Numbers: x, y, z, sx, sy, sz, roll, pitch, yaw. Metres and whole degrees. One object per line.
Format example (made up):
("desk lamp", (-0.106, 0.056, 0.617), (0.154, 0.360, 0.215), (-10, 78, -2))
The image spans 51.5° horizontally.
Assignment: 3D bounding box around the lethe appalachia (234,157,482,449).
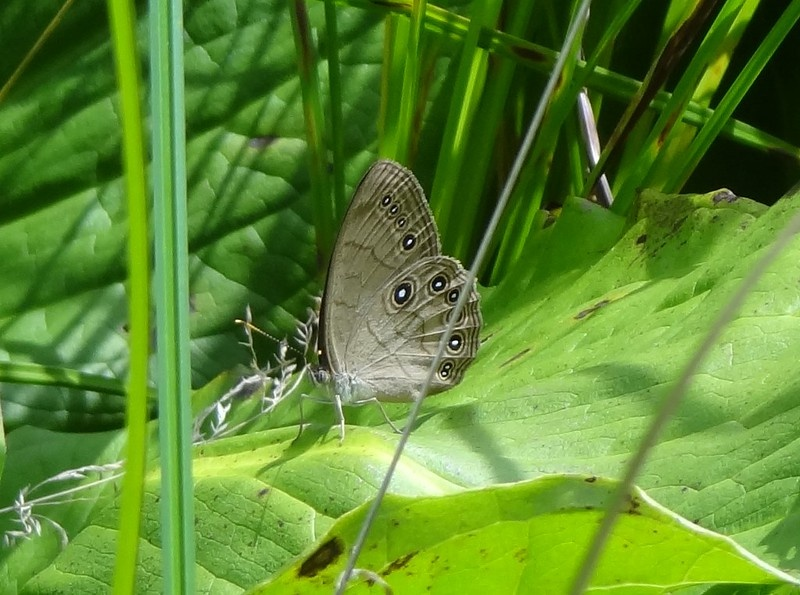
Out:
("lethe appalachia", (-0.047, 0.062, 1.153), (0.298, 0.338, 0.318), (27, 33, -17))
